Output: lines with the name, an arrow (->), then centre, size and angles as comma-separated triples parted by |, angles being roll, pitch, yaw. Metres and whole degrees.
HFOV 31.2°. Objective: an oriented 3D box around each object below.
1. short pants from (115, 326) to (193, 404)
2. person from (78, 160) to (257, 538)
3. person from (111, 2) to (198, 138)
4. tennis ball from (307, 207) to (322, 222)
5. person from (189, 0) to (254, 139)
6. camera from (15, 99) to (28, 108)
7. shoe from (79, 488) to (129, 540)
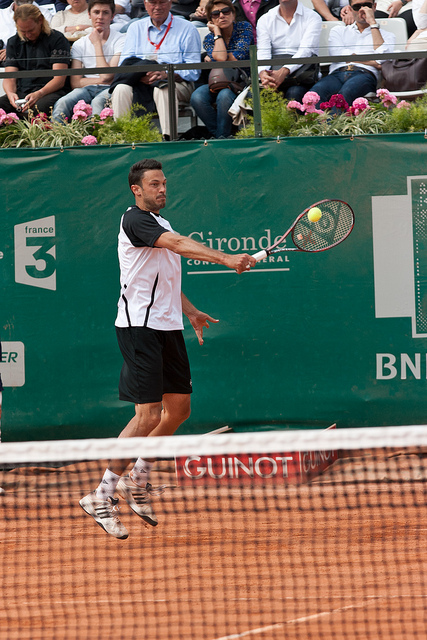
short pants -> -0.316, 0.199, 4.091 | 0.274, 0.427, 0.494 | -2, 0, 32
person -> -0.185, 0.112, 4.098 | 1.030, 1.931, 0.894 | 1, -4, 4
person -> -0.473, -2.028, 6.055 | 0.693, 1.261, 1.266 | -3, 6, -1
tennis ball -> 0.552, -0.569, 4.162 | 0.062, 0.074, 0.195 | -1, 5, 16
person -> 0.073, -2.044, 6.297 | 0.552, 1.211, 1.087 | -3, 6, 3
camera -> -1.523, -1.698, 6.054 | 0.128, 0.072, 0.045 | 1, 8, 37
shoe -> -0.544, 0.957, 3.787 | 0.223, 0.242, 0.173 | -4, 6, -11
